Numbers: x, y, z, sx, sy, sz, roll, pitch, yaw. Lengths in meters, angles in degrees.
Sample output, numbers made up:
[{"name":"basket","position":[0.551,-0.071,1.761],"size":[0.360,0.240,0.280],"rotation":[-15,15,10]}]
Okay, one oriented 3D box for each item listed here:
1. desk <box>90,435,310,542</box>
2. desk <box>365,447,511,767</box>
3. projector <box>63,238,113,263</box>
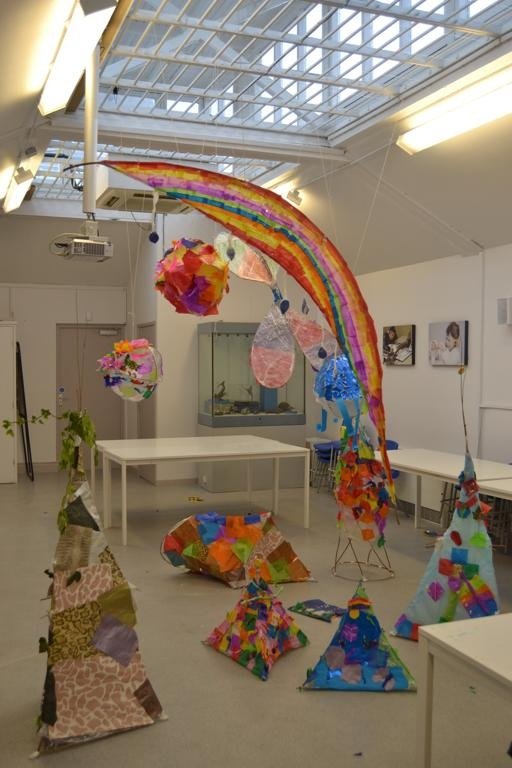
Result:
[{"name":"desk","position":[-0.726,1.108,6.270],"size":[2.142,0.928,1.998],"rotation":[1,-2,-24]},{"name":"desk","position":[1.088,0.914,2.960],"size":[0.298,1.124,0.581],"rotation":[1,-3,-21]},{"name":"projector","position":[-1.439,-1.183,4.614],"size":[0.366,0.218,0.266],"rotation":[0,-2,-19]}]
